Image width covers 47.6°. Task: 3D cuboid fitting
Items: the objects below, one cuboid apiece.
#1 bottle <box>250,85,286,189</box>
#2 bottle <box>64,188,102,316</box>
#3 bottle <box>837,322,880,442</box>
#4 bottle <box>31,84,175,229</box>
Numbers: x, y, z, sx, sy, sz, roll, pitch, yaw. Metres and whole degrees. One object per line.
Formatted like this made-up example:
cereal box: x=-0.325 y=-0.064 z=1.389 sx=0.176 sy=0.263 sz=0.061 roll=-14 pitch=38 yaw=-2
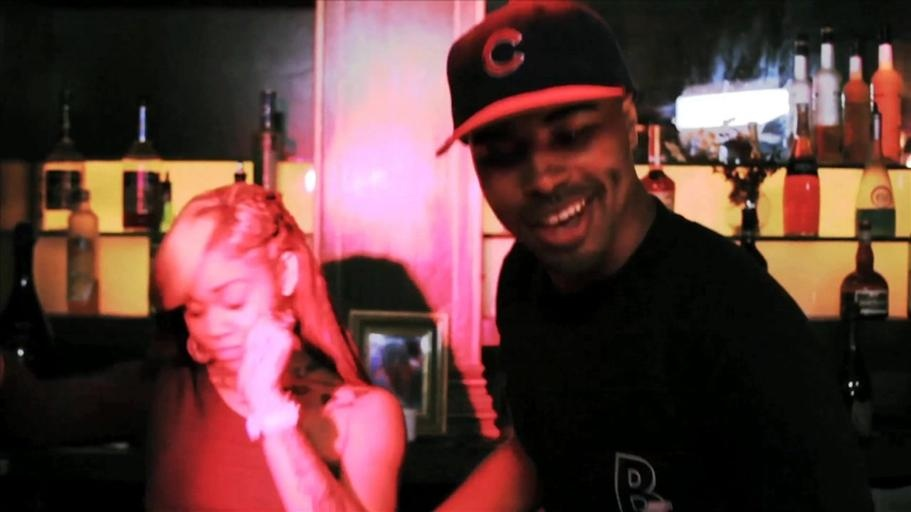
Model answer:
bottle: x=-0.489 y=-0.306 z=2.718 sx=0.089 sy=0.259 sz=0.033 roll=-2 pitch=5 yaw=-2
bottle: x=-0.978 y=-0.010 z=2.719 sx=0.083 sy=0.326 sz=0.027 roll=-1 pitch=5 yaw=13
bottle: x=1.045 y=0.329 z=2.692 sx=0.080 sy=0.316 sz=0.179 roll=-2 pitch=22 yaw=20
bottle: x=-0.924 y=-0.243 z=2.725 sx=0.451 sy=0.425 sz=0.152 roll=0 pitch=1 yaw=0
